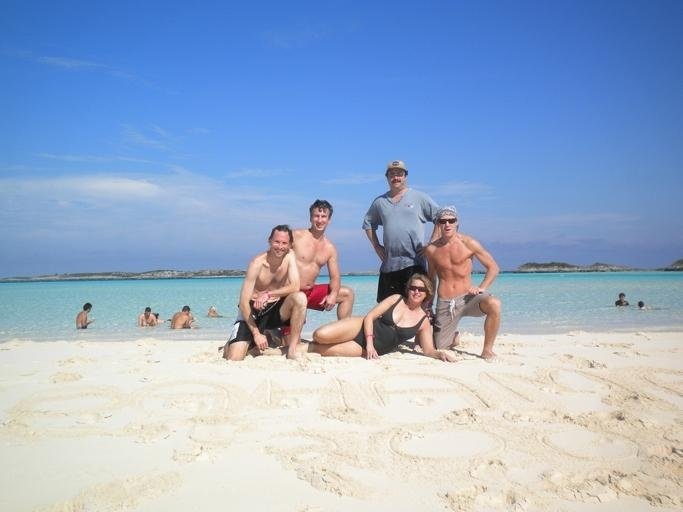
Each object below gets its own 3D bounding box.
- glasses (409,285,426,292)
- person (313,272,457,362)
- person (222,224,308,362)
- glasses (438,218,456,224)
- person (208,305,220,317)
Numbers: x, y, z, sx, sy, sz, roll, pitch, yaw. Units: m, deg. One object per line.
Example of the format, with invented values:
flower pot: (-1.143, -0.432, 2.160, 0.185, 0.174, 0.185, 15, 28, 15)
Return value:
glasses: (1.126, 0.478, 7.142, 0.245, 0.086, 0.086, 1, 10, 2)
person: (0.505, 0.961, 7.331, 2.688, 1.392, 1.044, 5, 9, 21)
person: (-1.116, 0.514, 7.208, 1.132, 1.940, 0.736, -1, 11, -10)
glasses: (1.625, -0.543, 7.347, 0.291, 0.098, 0.154, 4, 11, 19)
person: (-4.310, 1.856, 16.160, 0.361, 0.326, 0.854, -2, 10, -16)
